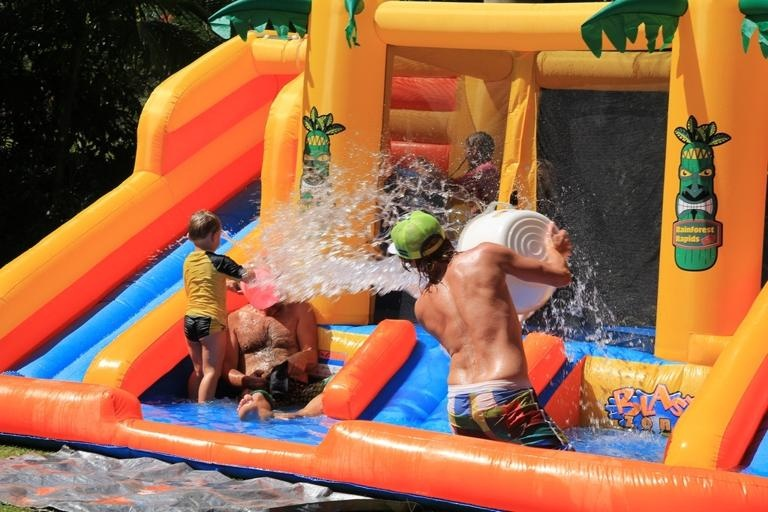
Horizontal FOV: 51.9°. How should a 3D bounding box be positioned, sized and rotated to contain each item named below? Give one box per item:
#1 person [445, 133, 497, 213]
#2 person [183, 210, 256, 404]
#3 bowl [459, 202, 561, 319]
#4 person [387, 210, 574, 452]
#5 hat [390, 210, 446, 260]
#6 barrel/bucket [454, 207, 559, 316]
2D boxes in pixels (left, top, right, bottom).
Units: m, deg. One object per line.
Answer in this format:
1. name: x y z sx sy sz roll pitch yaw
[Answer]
1. person: 0.876 -0.923 7.694 0.514 0.723 0.519 -7 48 2
2. person: -1.384 0.461 6.585 0.590 1.643 0.433 1 12 -4
3. bowl: 0.851 -0.005 5.437 0.676 0.776 0.542 -17 16 -33
4. person: 0.604 0.460 4.874 1.112 1.390 0.512 2 12 0
5. hat: 0.185 -0.162 4.983 0.333 0.206 0.409 -42 27 -25
6. barrel/bucket: 0.831 -0.023 5.494 0.675 0.763 0.533 -21 17 -32
